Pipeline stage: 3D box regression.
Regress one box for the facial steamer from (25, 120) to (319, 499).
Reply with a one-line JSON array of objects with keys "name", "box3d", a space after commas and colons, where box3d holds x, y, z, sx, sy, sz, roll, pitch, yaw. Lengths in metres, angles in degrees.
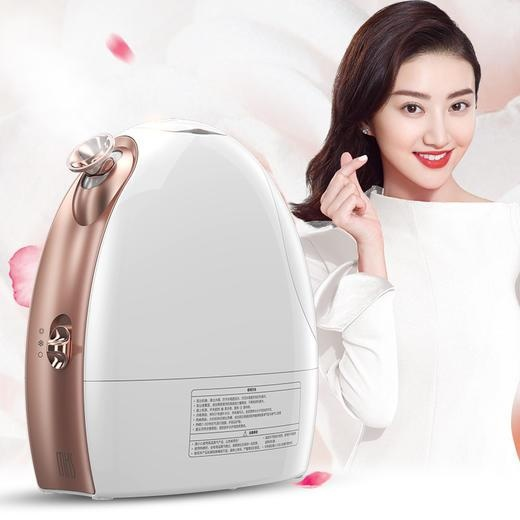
[{"name": "facial steamer", "box3d": [-0.061, 0.037, 0.478, 0.258, 0.325, 0.112, 7, -12, -20]}]
